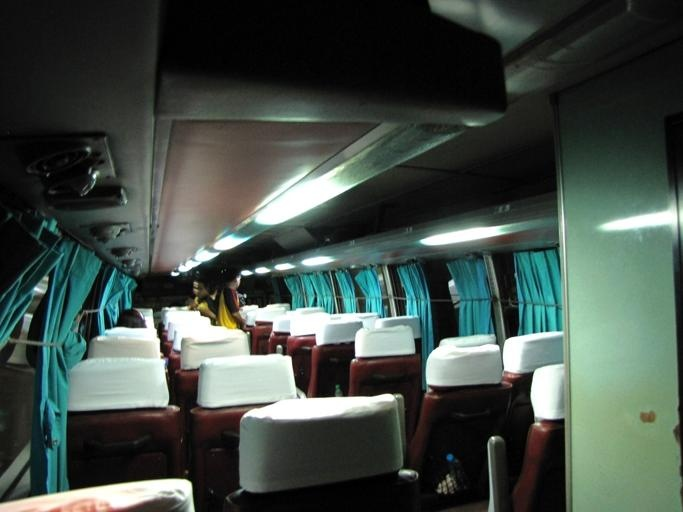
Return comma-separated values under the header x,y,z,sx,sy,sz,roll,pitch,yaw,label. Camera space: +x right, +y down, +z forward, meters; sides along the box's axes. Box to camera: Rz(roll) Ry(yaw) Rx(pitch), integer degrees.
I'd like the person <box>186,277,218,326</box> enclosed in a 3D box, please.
x,y,z,sx,sy,sz,roll,pitch,yaw,label
-3.164,1.074,11.310,0.491,1.382,0.695,-10,-23,-21,person
